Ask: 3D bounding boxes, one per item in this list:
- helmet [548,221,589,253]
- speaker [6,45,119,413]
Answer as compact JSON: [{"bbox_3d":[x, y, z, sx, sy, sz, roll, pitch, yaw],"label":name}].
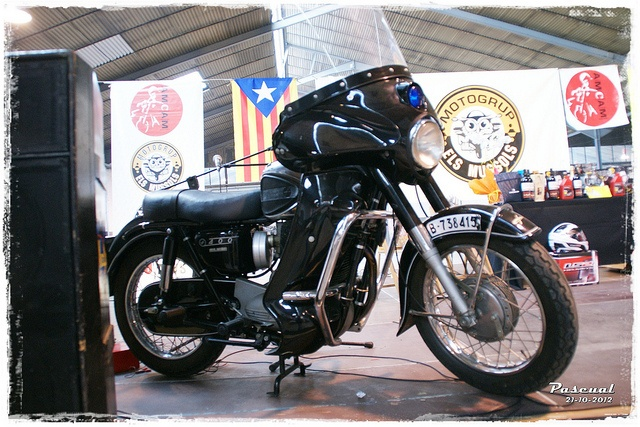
[{"bbox_3d":[2.602,0.255,5.928,0.379,0.300,0.314,-3,-4,4],"label":"helmet"},{"bbox_3d":[-1.424,0.125,3.101,0.524,2.027,0.258,-1,-3,-22],"label":"speaker"}]
